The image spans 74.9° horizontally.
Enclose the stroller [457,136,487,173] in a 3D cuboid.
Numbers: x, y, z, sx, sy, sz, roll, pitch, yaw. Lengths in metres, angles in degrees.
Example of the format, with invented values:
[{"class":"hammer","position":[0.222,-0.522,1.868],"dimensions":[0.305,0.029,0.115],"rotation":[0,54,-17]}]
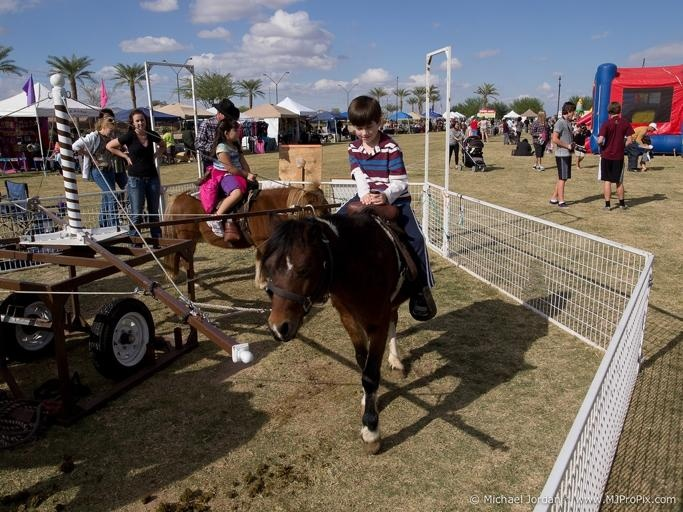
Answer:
[{"class":"stroller","position":[6.229,-4.767,21.015],"dimensions":[1.079,1.532,1.824],"rotation":[0,15,15]}]

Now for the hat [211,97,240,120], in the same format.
[{"class":"hat","position":[-1.728,-2.201,6.698],"dimensions":[0.307,0.332,0.438],"rotation":[-7,15,-15]}]

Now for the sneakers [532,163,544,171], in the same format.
[{"class":"sneakers","position":[8.998,-4.014,20.390],"dimensions":[0.259,0.268,0.635],"rotation":[-9,10,-17]}]

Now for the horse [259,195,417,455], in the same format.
[{"class":"horse","position":[0.286,0.524,4.478],"dimensions":[0.734,2.159,2.903],"rotation":[-1,12,27]}]

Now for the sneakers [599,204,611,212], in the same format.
[{"class":"sneakers","position":[7.118,-1.273,11.996],"dimensions":[0.130,0.220,0.218],"rotation":[23,10,39]}]

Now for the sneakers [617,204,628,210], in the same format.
[{"class":"sneakers","position":[7.687,-1.315,12.160],"dimensions":[0.181,0.092,0.249],"rotation":[2,3,31]}]

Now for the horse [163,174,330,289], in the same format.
[{"class":"horse","position":[-1.586,-0.260,7.197],"dimensions":[2.998,1.586,0.740],"rotation":[2,3,19]}]

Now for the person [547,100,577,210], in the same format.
[{"class":"person","position":[5.991,-2.672,12.076],"dimensions":[0.508,2.778,1.090],"rotation":[4,16,27]}]

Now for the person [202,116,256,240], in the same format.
[{"class":"person","position":[-1.749,-1.109,6.852],"dimensions":[0.823,1.846,0.599],"rotation":[-8,15,-17]}]

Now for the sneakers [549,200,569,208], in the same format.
[{"class":"sneakers","position":[6.202,-1.471,12.727],"dimensions":[0.250,0.233,0.625],"rotation":[-20,24,-39]}]
